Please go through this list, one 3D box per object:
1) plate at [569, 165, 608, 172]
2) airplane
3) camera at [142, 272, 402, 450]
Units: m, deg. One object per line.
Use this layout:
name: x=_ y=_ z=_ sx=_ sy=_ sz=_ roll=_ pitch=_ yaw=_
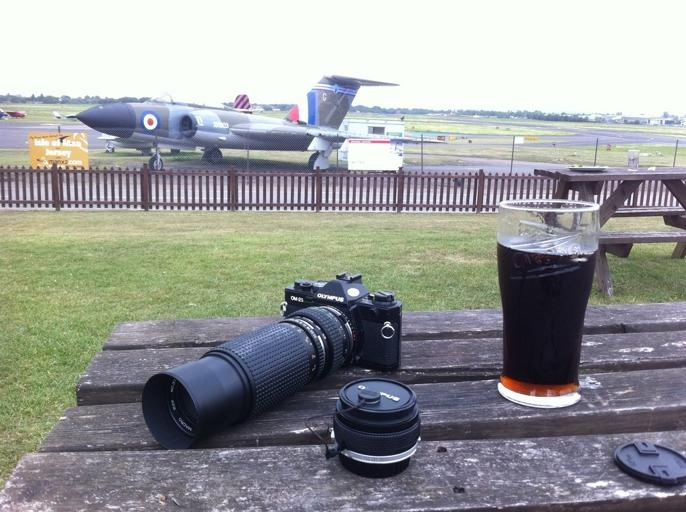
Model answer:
plate: x=2.791 y=-0.980 z=6.894 sx=0.406 sy=0.061 sz=0.657 roll=4 pitch=10 yaw=21
airplane: x=-5.269 y=-7.460 z=33.285 sx=15.675 sy=5.476 sz=4.630 roll=-6 pitch=13 yaw=-35
camera: x=-0.217 y=0.328 z=2.177 sx=0.498 sy=0.257 sz=0.820 roll=4 pitch=12 yaw=39
